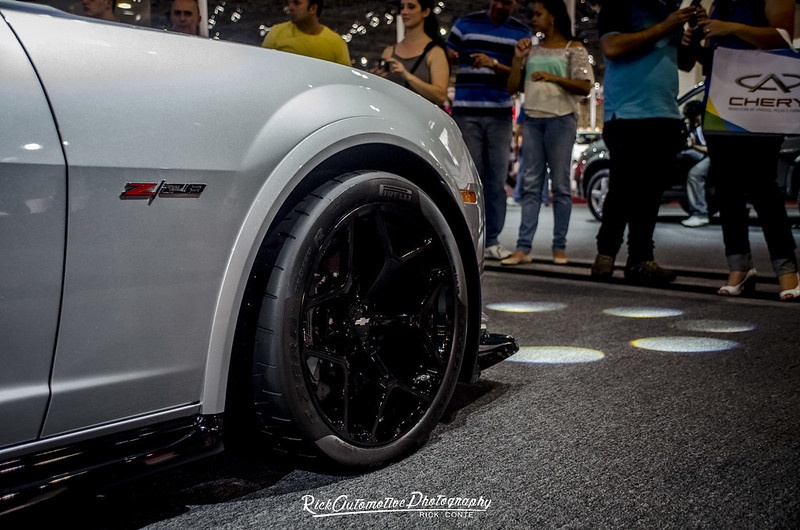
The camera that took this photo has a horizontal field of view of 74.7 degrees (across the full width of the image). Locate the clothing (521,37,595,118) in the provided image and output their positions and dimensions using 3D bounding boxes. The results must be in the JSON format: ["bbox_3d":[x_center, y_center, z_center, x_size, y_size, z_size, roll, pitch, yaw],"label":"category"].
[{"bbox_3d":[1.547,-1.955,5.512,0.841,0.799,0.425,9,5,28],"label":"clothing"}]

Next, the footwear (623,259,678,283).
[{"bbox_3d":[2.184,0.057,4.541,0.365,0.161,0.190,-3,9,10],"label":"footwear"}]

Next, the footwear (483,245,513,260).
[{"bbox_3d":[1.023,-0.127,5.521,0.394,0.178,0.171,1,17,22],"label":"footwear"}]

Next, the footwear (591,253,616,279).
[{"bbox_3d":[1.843,0.025,4.808,0.232,0.235,0.179,2,-8,16],"label":"footwear"}]

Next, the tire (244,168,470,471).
[{"bbox_3d":[-0.158,0.183,1.675,0.314,0.893,0.836,-3,-19,43],"label":"tire"}]

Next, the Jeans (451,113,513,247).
[{"bbox_3d":[0.924,-0.913,5.667,0.642,1.487,0.384,1,26,14],"label":"Jeans"}]

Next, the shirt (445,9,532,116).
[{"bbox_3d":[0.906,-2.092,5.504,0.911,1.025,0.531,7,30,5],"label":"shirt"}]

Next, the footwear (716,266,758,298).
[{"bbox_3d":[2.577,0.160,4.069,0.393,0.246,0.130,-1,5,-6],"label":"footwear"}]
